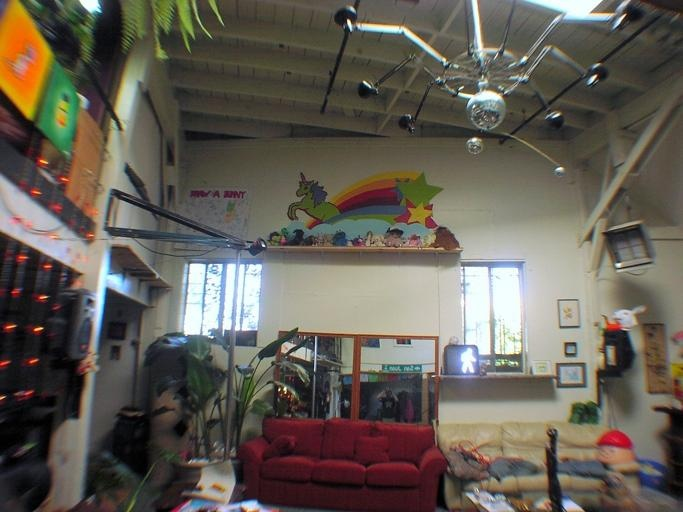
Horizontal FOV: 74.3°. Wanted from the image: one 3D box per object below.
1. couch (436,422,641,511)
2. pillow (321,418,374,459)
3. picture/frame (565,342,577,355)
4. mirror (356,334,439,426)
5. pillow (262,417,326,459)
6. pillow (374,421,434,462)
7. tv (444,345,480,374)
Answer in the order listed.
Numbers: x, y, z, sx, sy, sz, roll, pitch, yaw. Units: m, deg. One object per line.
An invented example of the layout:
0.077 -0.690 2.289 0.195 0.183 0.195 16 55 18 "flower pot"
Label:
2.559 2.841 6.101 2.435 1.002 1.010 1 -12 1 "couch"
0.028 2.578 6.444 0.469 0.527 0.229 -2 -17 3 "pillow"
3.620 1.466 7.129 0.153 0.185 0.024 4 -4 3 "picture/frame"
0.884 1.967 6.958 1.195 1.612 0.061 0 -18 5 "mirror"
-0.679 2.571 6.412 0.516 0.231 0.548 4 8 4 "pillow"
0.926 2.598 6.358 0.488 0.217 0.521 2 19 2 "pillow"
1.846 1.580 6.882 0.379 0.393 0.144 0 -7 1 "tv"
